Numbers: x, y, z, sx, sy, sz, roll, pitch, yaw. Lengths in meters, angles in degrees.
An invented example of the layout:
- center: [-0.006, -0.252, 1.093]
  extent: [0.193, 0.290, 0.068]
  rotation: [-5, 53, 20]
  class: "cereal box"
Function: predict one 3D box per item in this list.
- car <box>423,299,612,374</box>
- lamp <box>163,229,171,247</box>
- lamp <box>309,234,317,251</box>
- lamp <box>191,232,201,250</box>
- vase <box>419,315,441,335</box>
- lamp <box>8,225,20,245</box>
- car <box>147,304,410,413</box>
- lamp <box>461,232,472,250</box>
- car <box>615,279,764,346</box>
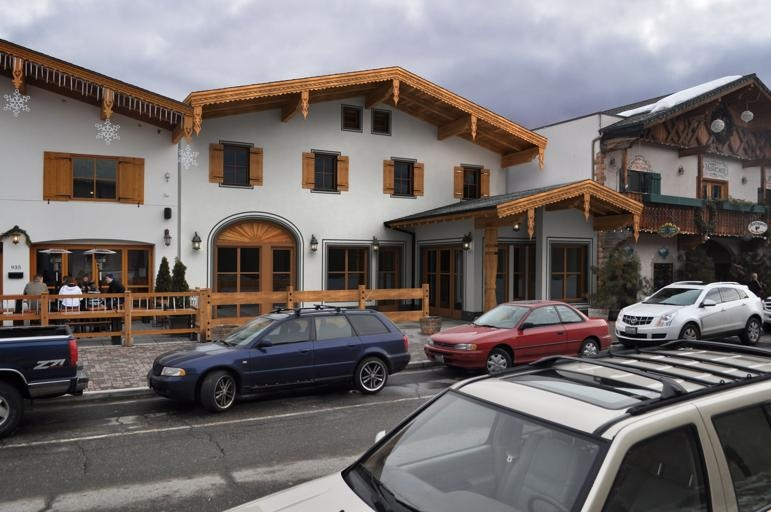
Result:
- center: [3.551, 2.114, 17.128]
  extent: [4.347, 1.428, 2.103]
  rotation: [0, -2, -23]
  class: "car"
- center: [-8.030, -0.648, 23.545]
  extent: [0.310, 0.644, 0.162]
  rotation: [-6, 9, -22]
  class: "lamp"
- center: [-2.871, -0.510, 25.890]
  extent: [0.219, 0.689, 0.405]
  rotation: [5, 12, 45]
  class: "lamp"
- center: [-7.079, -0.525, 23.909]
  extent: [0.388, 0.681, 0.277]
  rotation: [-5, 9, -15]
  class: "lamp"
- center: [1.641, 2.437, 22.274]
  extent: [0.646, 0.408, 0.580]
  rotation: [6, -7, -41]
  class: "vase"
- center: [-12.558, -0.693, 21.732]
  extent: [0.295, 0.638, 0.323]
  rotation: [3, 10, 36]
  class: "lamp"
- center: [-2.339, 2.243, 14.698]
  extent: [5.028, 1.636, 2.364]
  rotation: [2, -2, -27]
  class: "car"
- center: [3.198, -0.549, 25.122]
  extent: [0.476, 0.709, 0.349]
  rotation: [0, 9, 19]
  class: "lamp"
- center: [9.477, 1.924, 19.964]
  extent: [4.393, 2.006, 1.912]
  rotation: [-7, 9, -26]
  class: "car"
